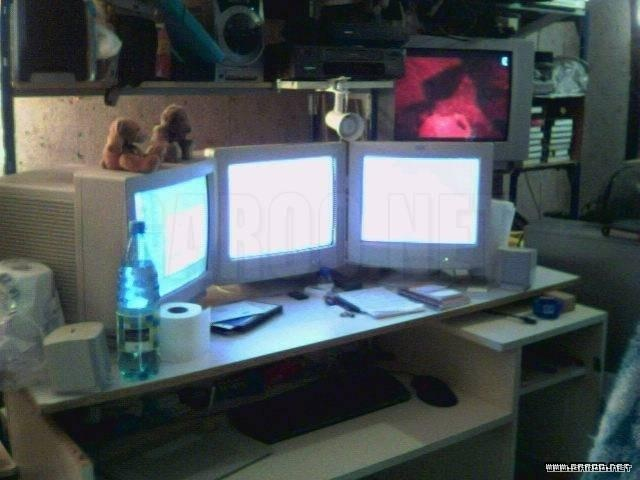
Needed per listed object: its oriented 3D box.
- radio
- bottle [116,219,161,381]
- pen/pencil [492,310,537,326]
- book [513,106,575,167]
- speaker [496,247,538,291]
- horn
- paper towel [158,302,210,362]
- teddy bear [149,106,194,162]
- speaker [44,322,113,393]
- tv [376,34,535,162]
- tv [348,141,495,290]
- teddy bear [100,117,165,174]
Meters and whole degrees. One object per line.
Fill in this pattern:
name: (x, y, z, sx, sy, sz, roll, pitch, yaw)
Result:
radio: (0.061, -0.593, 2.074, 0.415, 0.116, 0.251, -3, 13, -27)
bottle: (-0.465, 0.146, 1.518, 0.113, 0.382, 0.136, -6, 10, -15)
pen/pencil: (0.644, 0.259, 2.000, 0.024, 0.024, 0.117, -3, 13, -43)
book: (1.271, -0.586, 3.587, 0.385, 0.423, 0.300, -6, 16, -24)
speaker: (0.689, 0.090, 2.127, 0.152, 0.134, 0.152, 3, 12, 22)
horn: (0.096, -0.475, 2.208, 0.160, 0.225, 0.125, 15, 18, 40)
paper towel: (-0.363, 0.243, 1.616, 0.138, 0.134, 0.137, -5, 10, -11)
teddy bear: (-0.484, -0.344, 1.942, 0.148, 0.175, 0.130, 15, 18, 30)
speaker: (-0.580, 0.284, 1.454, 0.133, 0.145, 0.112, -4, 10, -10)
tv: (0.678, -0.673, 2.948, 0.836, 0.519, 0.198, 1, 10, -16)
tv: (0.362, -0.118, 2.216, 0.556, 0.473, 0.140, 3, 15, 5)
teddy bear: (-0.554, -0.266, 1.741, 0.191, 0.130, 0.241, -3, 21, -13)
